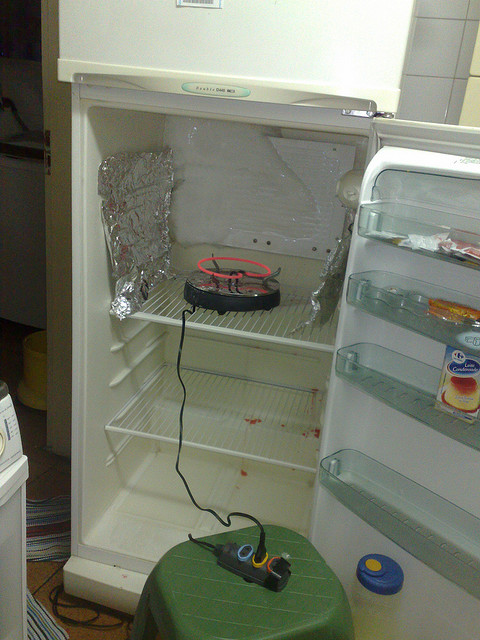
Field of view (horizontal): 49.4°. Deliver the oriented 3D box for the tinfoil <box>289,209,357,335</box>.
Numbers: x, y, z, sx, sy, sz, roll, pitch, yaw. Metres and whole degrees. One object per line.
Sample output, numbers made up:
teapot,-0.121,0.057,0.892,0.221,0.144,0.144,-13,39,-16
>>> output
tinfoil,0.216,-0.113,1.275,0.089,0.334,0.102,-9,42,-33
